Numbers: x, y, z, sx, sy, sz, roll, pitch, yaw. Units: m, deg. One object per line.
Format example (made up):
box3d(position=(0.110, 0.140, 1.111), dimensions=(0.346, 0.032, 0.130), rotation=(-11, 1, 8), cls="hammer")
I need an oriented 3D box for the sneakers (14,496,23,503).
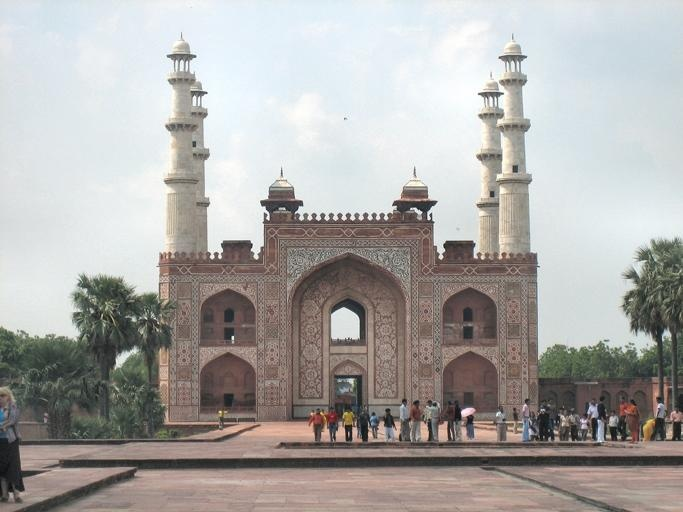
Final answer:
box3d(position=(-6.591, 4.986, 29.776), dimensions=(0.186, 0.131, 0.258), rotation=(3, -12, -15), cls="sneakers")
